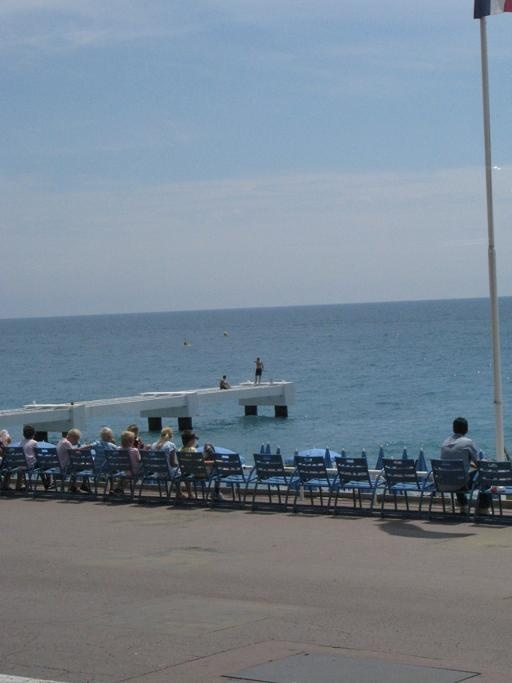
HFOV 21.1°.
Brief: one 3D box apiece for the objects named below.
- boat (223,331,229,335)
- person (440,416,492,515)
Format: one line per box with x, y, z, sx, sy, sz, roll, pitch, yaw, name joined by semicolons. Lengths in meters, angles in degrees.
-3.632;-1.118;186.679;0.446;0.602;1.510;-2;4;3;boat
2.287;1.302;14.523;0.510;0.980;0.720;-2;2;8;person
